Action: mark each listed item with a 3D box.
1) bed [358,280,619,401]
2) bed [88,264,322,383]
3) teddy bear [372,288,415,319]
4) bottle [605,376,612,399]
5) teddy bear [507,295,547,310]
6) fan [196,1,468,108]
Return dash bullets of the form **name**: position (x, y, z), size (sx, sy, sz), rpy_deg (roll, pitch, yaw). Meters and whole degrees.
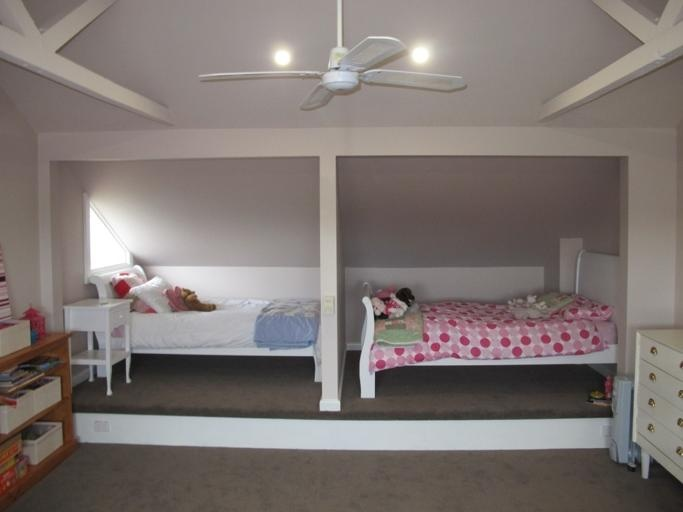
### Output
- **bed**: position (1.368, 0.758, 5.358), size (1.821, 0.698, 1.257), rpy_deg (-2, 5, -2)
- **bed**: position (-1.366, 0.717, 5.918), size (1.998, 0.837, 1.219), rpy_deg (1, 1, -3)
- **teddy bear**: position (0.551, 0.534, 5.669), size (0.358, 0.137, 0.328), rpy_deg (-12, 38, -9)
- **bottle**: position (2.460, 1.187, 4.905), size (0.068, 0.182, 0.243), rpy_deg (-3, 3, 24)
- **teddy bear**: position (2.055, 0.507, 5.840), size (0.223, 0.089, 0.210), rpy_deg (7, -3, -19)
- **fan**: position (0.159, -1.102, 3.236), size (1.008, 0.388, 0.943), rpy_deg (1, -3, -30)
